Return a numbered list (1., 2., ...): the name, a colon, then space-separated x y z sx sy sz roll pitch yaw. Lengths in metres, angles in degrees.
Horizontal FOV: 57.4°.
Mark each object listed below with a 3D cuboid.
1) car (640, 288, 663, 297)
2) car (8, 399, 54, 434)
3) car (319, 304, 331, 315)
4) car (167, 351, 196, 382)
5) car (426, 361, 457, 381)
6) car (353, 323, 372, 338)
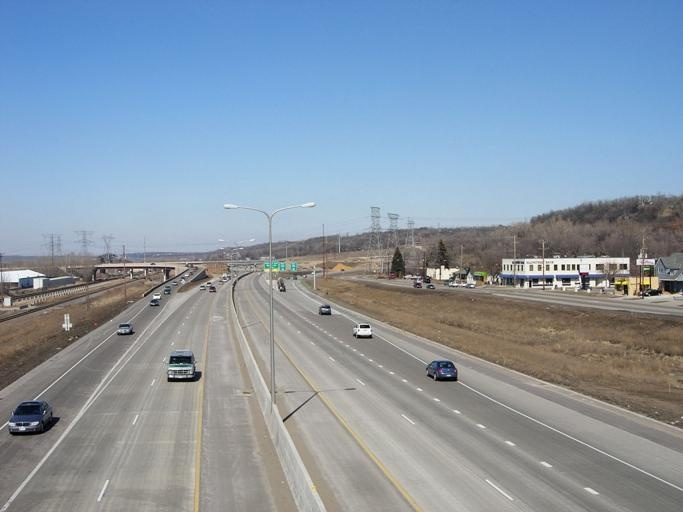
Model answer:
1. car: 53.060 6.435 107.148 3.257 1.103 1.903 1 -5 -10
2. car: -18.653 9.806 37.643 1.872 1.527 1.950 0 5 0
3. car: -2.192 7.870 89.043 1.248 1.175 2.305 -3 6 -29
4. car: -12.501 8.768 48.949 2.105 1.899 2.393 -2 5 -17
5. car: 7.933 9.056 49.081 1.598 1.332 2.365 -4 6 -33
6. car: 2.396 8.321 68.963 1.743 1.425 1.705 -1 5 -10
